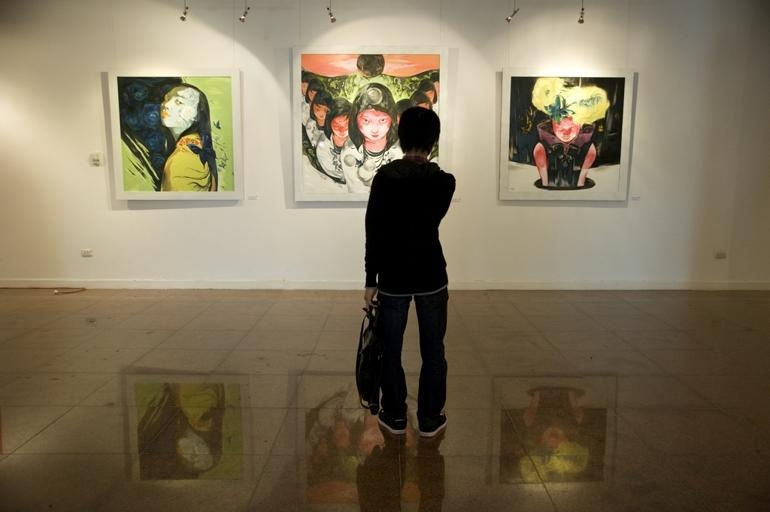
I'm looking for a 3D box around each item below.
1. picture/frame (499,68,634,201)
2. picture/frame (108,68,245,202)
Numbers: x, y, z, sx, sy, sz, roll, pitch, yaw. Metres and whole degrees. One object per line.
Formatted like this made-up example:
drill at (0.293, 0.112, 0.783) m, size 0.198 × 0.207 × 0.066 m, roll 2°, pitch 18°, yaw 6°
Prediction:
picture/frame at (2.626, -1.860, 8.263) m, size 1.807 × 1.828 × 0.075 m, roll 0°, pitch 10°, yaw -1°
picture/frame at (-2.988, -1.857, 8.259) m, size 1.814 × 1.872 × 0.066 m, roll 0°, pitch 11°, yaw 0°
